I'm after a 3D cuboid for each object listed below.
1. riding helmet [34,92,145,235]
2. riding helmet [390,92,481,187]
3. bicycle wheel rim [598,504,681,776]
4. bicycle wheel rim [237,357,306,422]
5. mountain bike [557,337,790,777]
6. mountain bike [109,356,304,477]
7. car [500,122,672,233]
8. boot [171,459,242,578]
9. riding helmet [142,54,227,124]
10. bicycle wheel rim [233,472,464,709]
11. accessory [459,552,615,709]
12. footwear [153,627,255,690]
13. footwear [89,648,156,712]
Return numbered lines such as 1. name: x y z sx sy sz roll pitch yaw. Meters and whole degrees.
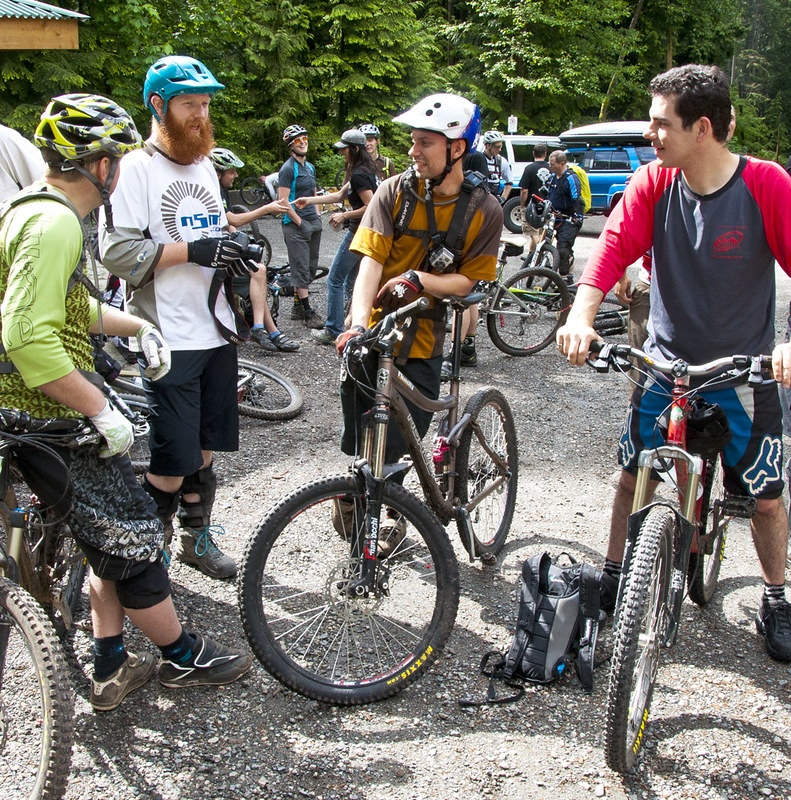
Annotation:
1. riding helmet: -0.967 -0.844 2.708 0.428 0.375 0.321 -16 29 -40
2. riding helmet: 0.244 -1.157 3.494 0.441 0.392 0.311 -8 26 -19
3. bicycle wheel rim: 0.868 0.878 2.848 0.245 0.891 0.982 5 1 18
4. bicycle wheel rim: -1.076 -0.066 6.148 0.680 0.120 0.662 16 -30 -40
5. mountain bike: 1.196 0.417 3.475 0.886 1.361 2.432 7 16 26
6. mountain bike: -1.181 0.087 5.662 1.258 0.568 0.718 -3 12 -42
7. car: 4.367 -5.586 19.812 4.111 2.115 2.084 -2 25 -1
8. boot: -0.936 0.615 4.018 0.425 0.618 0.226 26 38 10
9. riding helmet: -0.877 -1.338 3.438 0.337 0.247 0.258 12 26 20
10. bicycle wheel rim: -0.167 0.637 3.298 0.818 0.961 0.906 1 23 -2
11. accessory: 0.602 0.941 3.352 0.591 0.537 0.456 5 -1 13
12. footwear: -0.742 1.023 3.219 0.397 0.180 0.157 -2 5 -20
13. footwear: -0.985 1.046 3.043 0.106 0.115 0.288 2 14 19
